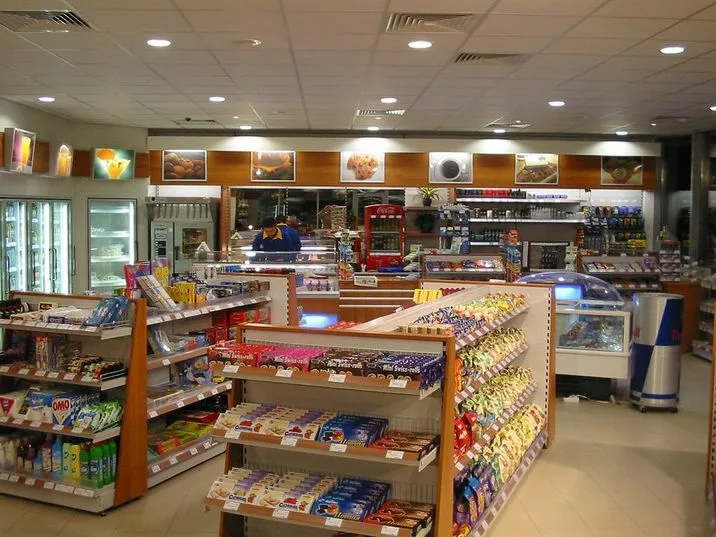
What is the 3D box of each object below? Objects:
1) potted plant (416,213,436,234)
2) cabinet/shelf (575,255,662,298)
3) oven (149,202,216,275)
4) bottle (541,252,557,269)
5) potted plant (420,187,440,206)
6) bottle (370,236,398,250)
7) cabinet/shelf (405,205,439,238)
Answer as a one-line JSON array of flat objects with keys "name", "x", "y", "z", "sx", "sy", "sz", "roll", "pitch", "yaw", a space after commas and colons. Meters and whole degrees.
[{"name": "potted plant", "x": 1.537, "y": -0.994, "z": 11.864, "sx": 0.587, "sy": 0.423, "sz": 0.494, "roll": 1, "pitch": -2, "yaw": 22}, {"name": "cabinet/shelf", "x": 5.243, "y": 0.161, "z": 10.578, "sx": 1.557, "sy": 0.823, "sz": 0.408, "roll": 1, "pitch": 8, "yaw": 4}, {"name": "oven", "x": -3.702, "y": -0.751, "z": 11.268, "sx": 1.282, "sy": 1.272, "sz": 0.866, "roll": -1, "pitch": 10, "yaw": -6}, {"name": "bottle", "x": 4.230, "y": -0.183, "z": 11.487, "sx": 0.451, "sy": 0.315, "sz": 0.093, "roll": 4, "pitch": -3, "yaw": 5}, {"name": "potted plant", "x": 1.607, "y": -1.590, "z": 11.680, "sx": 0.527, "sy": 0.267, "sz": 0.452, "roll": 1, "pitch": 0, "yaw": 13}, {"name": "bottle", "x": 0.595, "y": -0.528, "z": 11.227, "sx": 0.452, "sy": 0.300, "sz": 0.103, "roll": 2, "pitch": -7, "yaw": 2}, {"name": "cabinet/shelf", "x": 1.459, "y": -1.075, "z": 11.813, "sx": 0.996, "sy": 0.618, "sz": 0.288, "roll": 1, "pitch": 0, "yaw": 23}]
